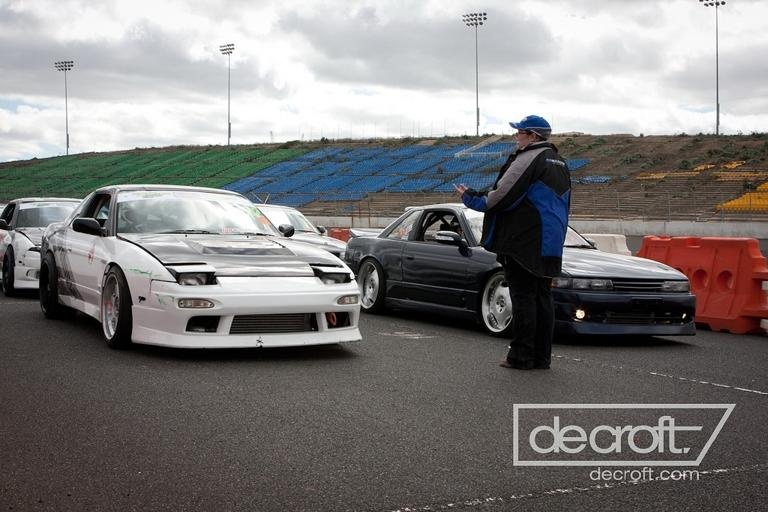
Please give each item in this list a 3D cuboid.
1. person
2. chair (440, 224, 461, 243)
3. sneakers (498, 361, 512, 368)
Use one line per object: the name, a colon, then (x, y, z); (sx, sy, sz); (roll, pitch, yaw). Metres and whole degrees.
person: (1.562, -0.170, 5.891); (1.073, 2.803, 0.601); (2, 3, 9)
chair: (1.142, -0.393, 8.729); (0.235, 0.159, 0.399); (5, 3, -35)
sneakers: (1.365, 1.208, 5.869); (0.135, 0.056, 0.047); (10, 43, 34)
